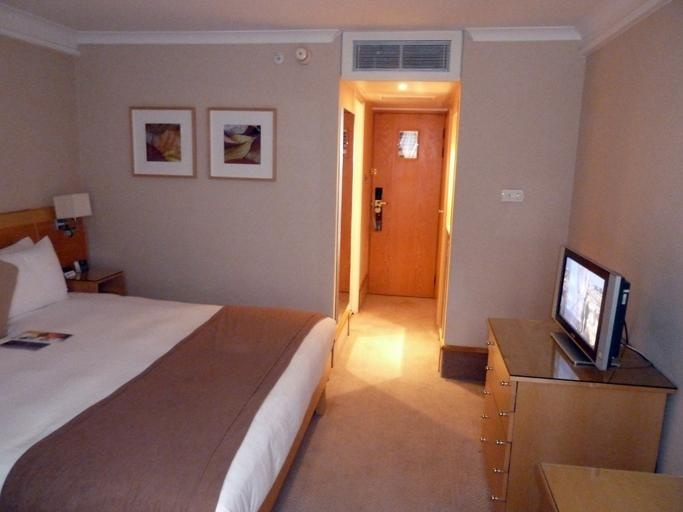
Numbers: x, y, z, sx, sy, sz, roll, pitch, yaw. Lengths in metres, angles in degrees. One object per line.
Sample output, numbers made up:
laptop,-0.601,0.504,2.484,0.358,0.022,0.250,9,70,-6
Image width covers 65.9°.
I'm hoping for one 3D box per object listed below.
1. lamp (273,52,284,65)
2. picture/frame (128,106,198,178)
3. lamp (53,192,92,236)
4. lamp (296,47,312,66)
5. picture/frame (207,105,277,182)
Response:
lamp,-0.546,-1.714,4.592,0.096,0.103,0.053,6,12,20
picture/frame,-1.633,-1.078,4.886,0.579,0.616,0.041,2,7,9
lamp,-2.552,-0.274,4.971,0.241,0.424,0.249,-1,43,-14
lamp,-0.323,-1.692,4.500,0.120,0.134,0.113,1,7,5
picture/frame,-0.877,-1.042,4.766,0.594,0.622,0.043,2,8,10
